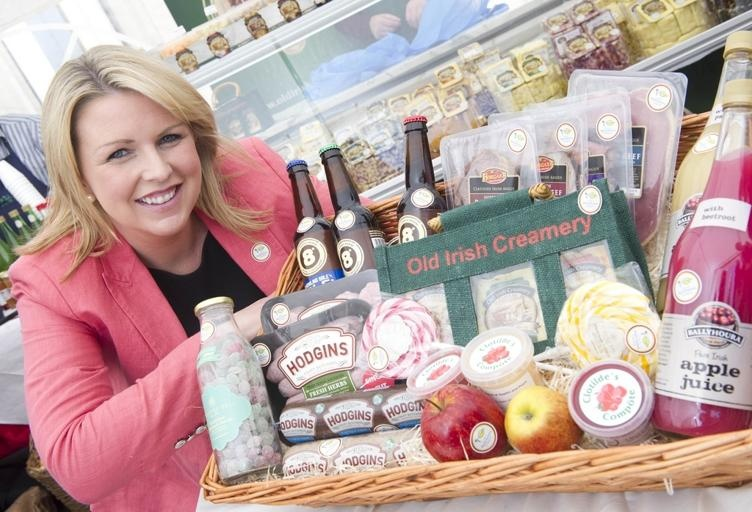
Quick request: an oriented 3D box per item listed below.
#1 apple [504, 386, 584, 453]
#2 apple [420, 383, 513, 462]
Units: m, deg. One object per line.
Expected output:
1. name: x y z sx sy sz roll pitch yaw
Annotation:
1. apple: 0.382 0.371 1.277 0.157 0.142 0.143 -14 52 43
2. apple: 0.215 0.377 1.230 0.128 0.158 0.133 -53 16 -13
